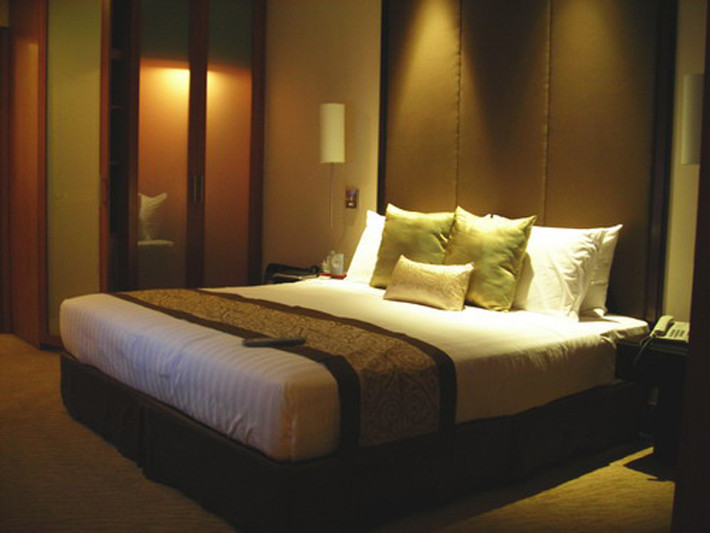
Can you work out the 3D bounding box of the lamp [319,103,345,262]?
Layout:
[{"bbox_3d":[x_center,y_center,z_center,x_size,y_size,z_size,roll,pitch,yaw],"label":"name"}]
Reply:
[{"bbox_3d":[-0.195,-0.731,5.067,0.216,1.253,0.347,1,10,-2],"label":"lamp"}]

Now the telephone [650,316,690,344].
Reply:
[{"bbox_3d":[1.560,0.314,2.947,0.170,0.072,0.160,-15,21,-42],"label":"telephone"}]
